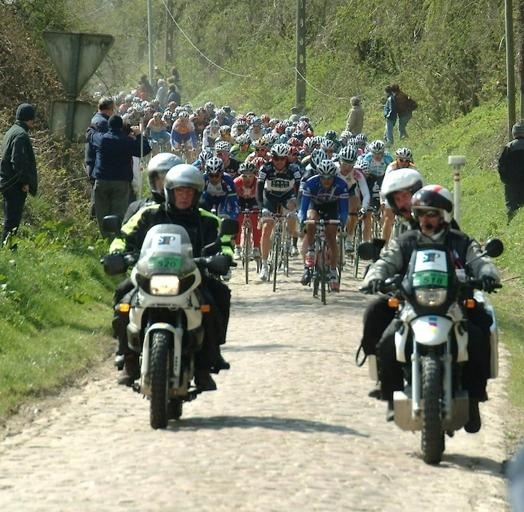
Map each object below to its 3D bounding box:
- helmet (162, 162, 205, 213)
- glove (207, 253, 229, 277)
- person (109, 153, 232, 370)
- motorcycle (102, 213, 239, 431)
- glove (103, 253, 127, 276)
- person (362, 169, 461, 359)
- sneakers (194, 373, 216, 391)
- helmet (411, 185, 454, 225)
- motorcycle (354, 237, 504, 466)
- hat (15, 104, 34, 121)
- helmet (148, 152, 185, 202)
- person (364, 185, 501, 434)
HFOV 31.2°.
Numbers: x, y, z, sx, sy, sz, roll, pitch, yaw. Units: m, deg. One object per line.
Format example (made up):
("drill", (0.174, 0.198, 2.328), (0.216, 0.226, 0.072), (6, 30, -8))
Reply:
("helmet", (-0.615, -0.566, 7.326), (0.300, 0.418, 0.379), (-2, 20, -26))
("glove", (-0.336, 0.063, 6.994), (0.144, 0.137, 0.123), (7, -10, -37))
("person", (-0.965, 0.032, 7.739), (0.496, 1.699, 0.493), (13, -3, 21))
("motorcycle", (-0.648, 0.451, 7.382), (0.644, 1.241, 1.695), (1, 0, 1))
("glove", (-1.107, 0.057, 6.964), (0.153, 0.185, 0.128), (0, 13, 10))
("person", (1.046, -0.082, 7.588), (0.616, 1.028, 1.552), (0, 3, -1))
("sneakers", (-0.450, 0.978, 7.284), (0.108, 0.182, 0.043), (-2, 18, -7))
("helmet", (1.214, -0.354, 6.633), (0.281, 0.360, 0.377), (5, 12, 33))
("motorcycle", (1.178, 0.624, 6.782), (0.714, 1.115, 1.530), (-1, -5, 6))
("hat", (-3.038, -1.834, 11.971), (0.210, 0.228, 0.279), (1, 5, -19))
("helmet", (-0.796, -0.643, 7.835), (0.266, 0.426, 0.407), (-1, 35, -5))
("person", (1.283, 0.510, 7.027), (0.807, 1.361, 2.014), (0, 1, 10))
